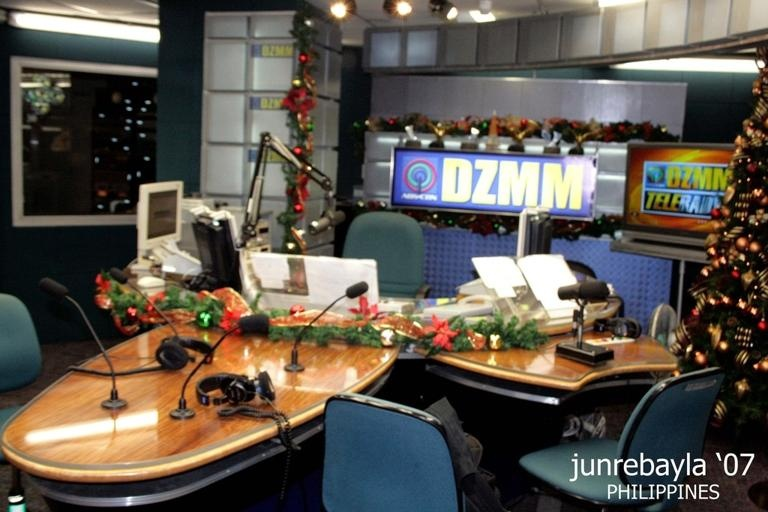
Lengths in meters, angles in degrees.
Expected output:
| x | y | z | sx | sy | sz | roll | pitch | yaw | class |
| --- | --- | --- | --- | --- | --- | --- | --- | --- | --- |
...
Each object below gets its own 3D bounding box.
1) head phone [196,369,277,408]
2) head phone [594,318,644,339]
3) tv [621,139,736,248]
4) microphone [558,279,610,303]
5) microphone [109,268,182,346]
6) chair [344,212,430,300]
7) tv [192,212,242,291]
| x | y | z | sx | sy | sz | roll | pitch | yaw | class |
| --- | --- | --- | --- | --- | --- | --- | --- | --- | --- |
| -0.726 | 0.648 | 2.883 | 0.270 | 0.109 | 0.202 | -1 | 7 | -8 | head phone |
| 1.569 | 0.476 | 3.905 | 0.227 | 0.098 | 0.165 | 5 | -1 | -27 | head phone |
| 3.044 | -0.636 | 6.077 | 0.942 | 1.054 | 0.380 | 24 | 10 | 17 | tv |
| 1.224 | 0.239 | 3.675 | 0.303 | 0.126 | 0.154 | -4 | 17 | 40 | microphone |
| -1.537 | 0.324 | 3.854 | 0.092 | 0.714 | 0.118 | -46 | 5 | -11 | microphone |
| 0.054 | -0.058 | 5.315 | 0.771 | 1.108 | 0.722 | 2 | 9 | 5 | chair |
| -1.154 | -0.021 | 4.110 | 0.394 | 0.591 | 0.214 | 17 | 35 | 29 | tv |
